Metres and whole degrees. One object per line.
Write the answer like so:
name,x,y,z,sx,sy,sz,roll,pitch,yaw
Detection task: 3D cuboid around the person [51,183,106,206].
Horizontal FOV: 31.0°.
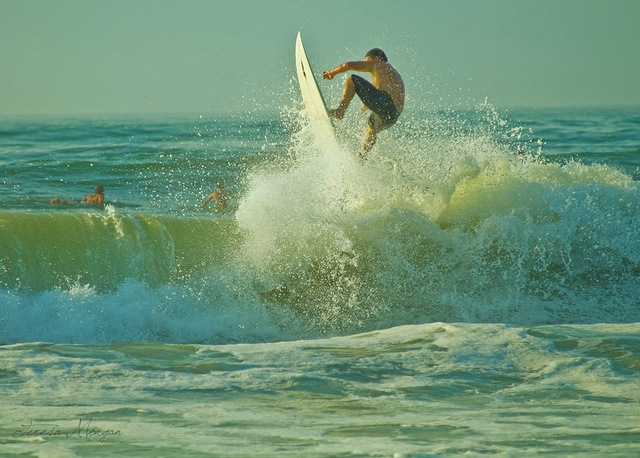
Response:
person,-4.440,-0.609,21.507,0.734,0.267,1.280,-4,-1,32
